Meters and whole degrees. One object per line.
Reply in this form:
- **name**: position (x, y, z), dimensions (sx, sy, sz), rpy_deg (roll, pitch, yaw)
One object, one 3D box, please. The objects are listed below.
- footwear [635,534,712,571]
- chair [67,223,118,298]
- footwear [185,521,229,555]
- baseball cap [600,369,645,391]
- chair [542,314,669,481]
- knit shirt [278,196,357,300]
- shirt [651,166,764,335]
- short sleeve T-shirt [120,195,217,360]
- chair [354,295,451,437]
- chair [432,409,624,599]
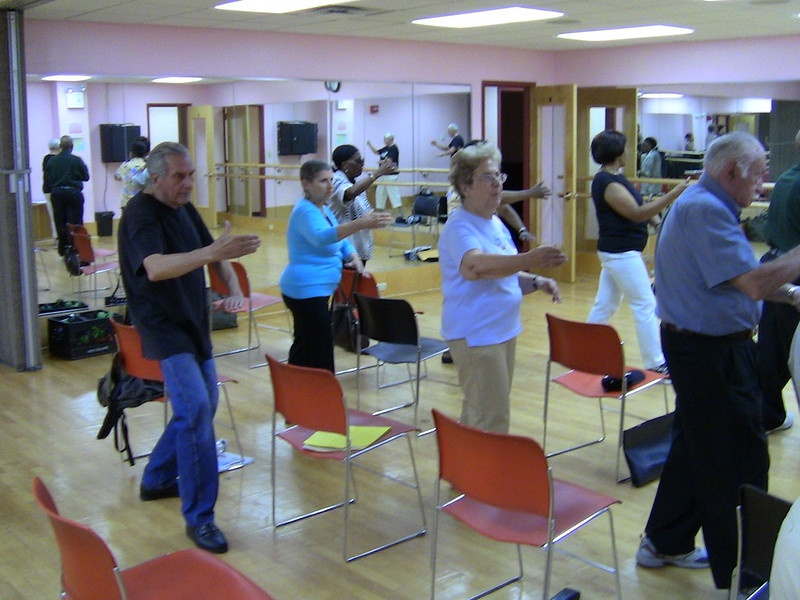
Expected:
- **footwear**: position (1.422, 1.305, 3.522), dimensions (0.381, 0.162, 0.140), rpy_deg (-4, 9, 7)
- **chair**: position (-3.323, -0.413, 7.537), dimensions (0.507, 0.671, 0.427), rpy_deg (-6, 12, -41)
- **footwear**: position (-1.033, 1.260, 3.725), dimensions (0.293, 0.117, 0.136), rpy_deg (8, 9, 37)
- **baseball cap**: position (1.464, 0.516, 4.413), dimensions (0.232, 0.048, 0.134), rpy_deg (-15, 33, -23)
- **chair**: position (1.416, 0.700, 4.692), dimensions (0.746, 1.198, 0.736), rpy_deg (-16, 19, -35)
- **knit shirt**: position (-0.714, -0.326, 5.224), dimensions (0.639, 0.897, 0.832), rpy_deg (-5, 15, -11)
- **shirt**: position (1.354, -0.160, 3.027), dimensions (0.430, 0.640, 0.258), rpy_deg (3, 12, 22)
- **short sleeve T-shirt**: position (-1.213, -0.110, 3.688), dimensions (0.490, 0.946, 0.447), rpy_deg (-8, 13, -31)
- **chair**: position (0.057, 0.425, 5.401), dimensions (0.631, 1.031, 0.758), rpy_deg (8, 17, 35)
- **chair**: position (0.626, 1.049, 3.368), dimensions (0.655, 1.074, 0.695), rpy_deg (11, 23, 40)
